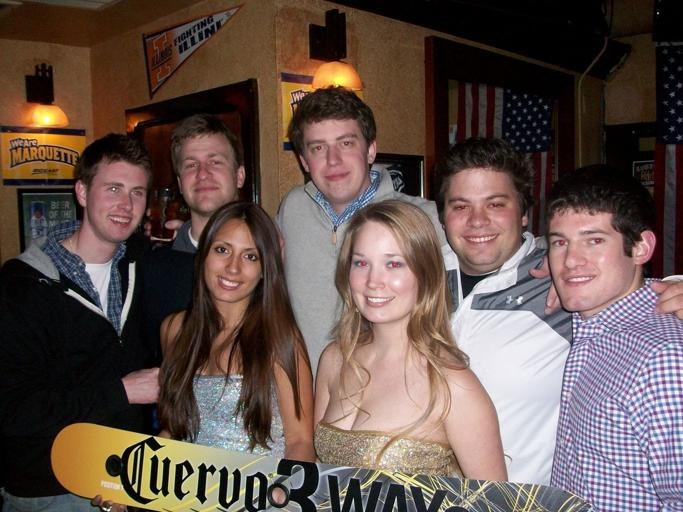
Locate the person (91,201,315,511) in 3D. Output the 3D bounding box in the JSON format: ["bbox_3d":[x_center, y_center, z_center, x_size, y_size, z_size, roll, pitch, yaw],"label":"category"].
[{"bbox_3d":[-0.513,0.352,2.769,0.794,1.244,0.282,-1,1,14],"label":"person"}]

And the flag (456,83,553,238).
[{"bbox_3d":[1.793,-1.230,6.590,1.344,2.447,0.148,4,-40,11],"label":"flag"}]

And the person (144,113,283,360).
[{"bbox_3d":[-0.755,0.095,3.336,0.912,1.914,0.588,1,-5,-22],"label":"person"}]

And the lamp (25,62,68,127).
[{"bbox_3d":[-3.084,-1.704,5.858,0.362,0.549,0.281,-2,1,-33],"label":"lamp"}]

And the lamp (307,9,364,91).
[{"bbox_3d":[-0.057,-1.600,4.303,0.375,0.782,0.613,-2,1,-2],"label":"lamp"}]

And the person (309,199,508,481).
[{"bbox_3d":[0.251,0.348,2.452,0.880,1.179,0.385,-1,1,17],"label":"person"}]
